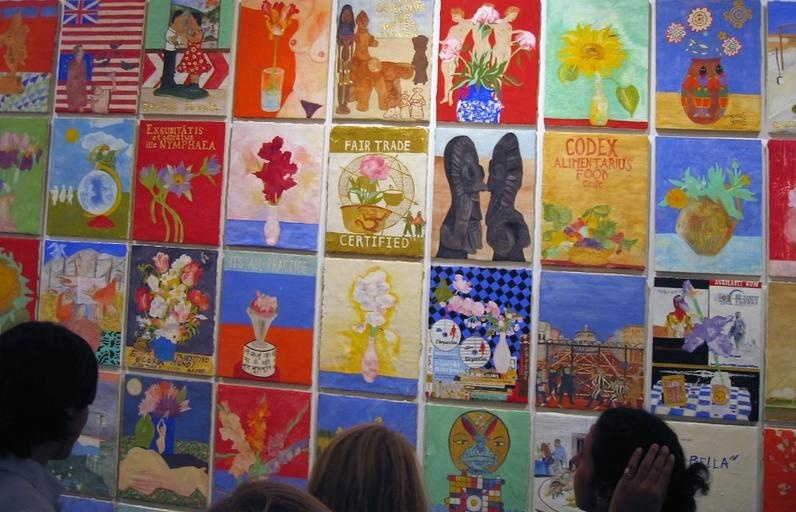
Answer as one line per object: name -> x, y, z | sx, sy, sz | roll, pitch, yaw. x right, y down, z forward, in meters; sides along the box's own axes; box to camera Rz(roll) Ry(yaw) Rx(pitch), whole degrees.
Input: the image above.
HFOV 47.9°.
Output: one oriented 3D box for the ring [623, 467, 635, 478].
ring -> 0.917, 0.867, 3.570 | 0.034, 0.036, 0.020 | 3, 40, 12
